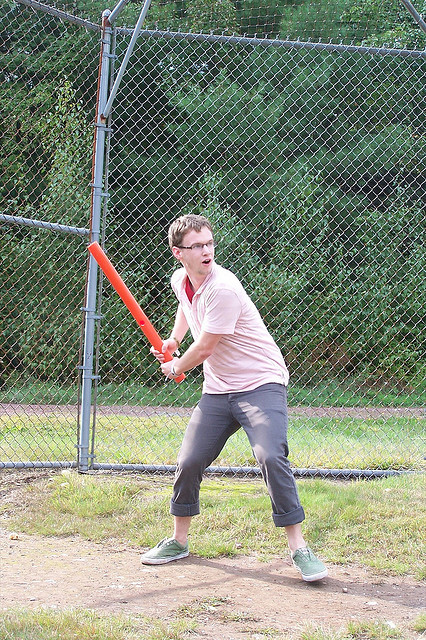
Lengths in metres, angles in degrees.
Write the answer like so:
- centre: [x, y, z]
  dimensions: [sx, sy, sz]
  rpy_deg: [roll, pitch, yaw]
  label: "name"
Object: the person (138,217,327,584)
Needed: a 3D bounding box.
- centre: [0.124, 0.335, 3.423]
  dimensions: [0.814, 1.133, 0.376]
  rpy_deg: [4, 2, 11]
  label: "person"
